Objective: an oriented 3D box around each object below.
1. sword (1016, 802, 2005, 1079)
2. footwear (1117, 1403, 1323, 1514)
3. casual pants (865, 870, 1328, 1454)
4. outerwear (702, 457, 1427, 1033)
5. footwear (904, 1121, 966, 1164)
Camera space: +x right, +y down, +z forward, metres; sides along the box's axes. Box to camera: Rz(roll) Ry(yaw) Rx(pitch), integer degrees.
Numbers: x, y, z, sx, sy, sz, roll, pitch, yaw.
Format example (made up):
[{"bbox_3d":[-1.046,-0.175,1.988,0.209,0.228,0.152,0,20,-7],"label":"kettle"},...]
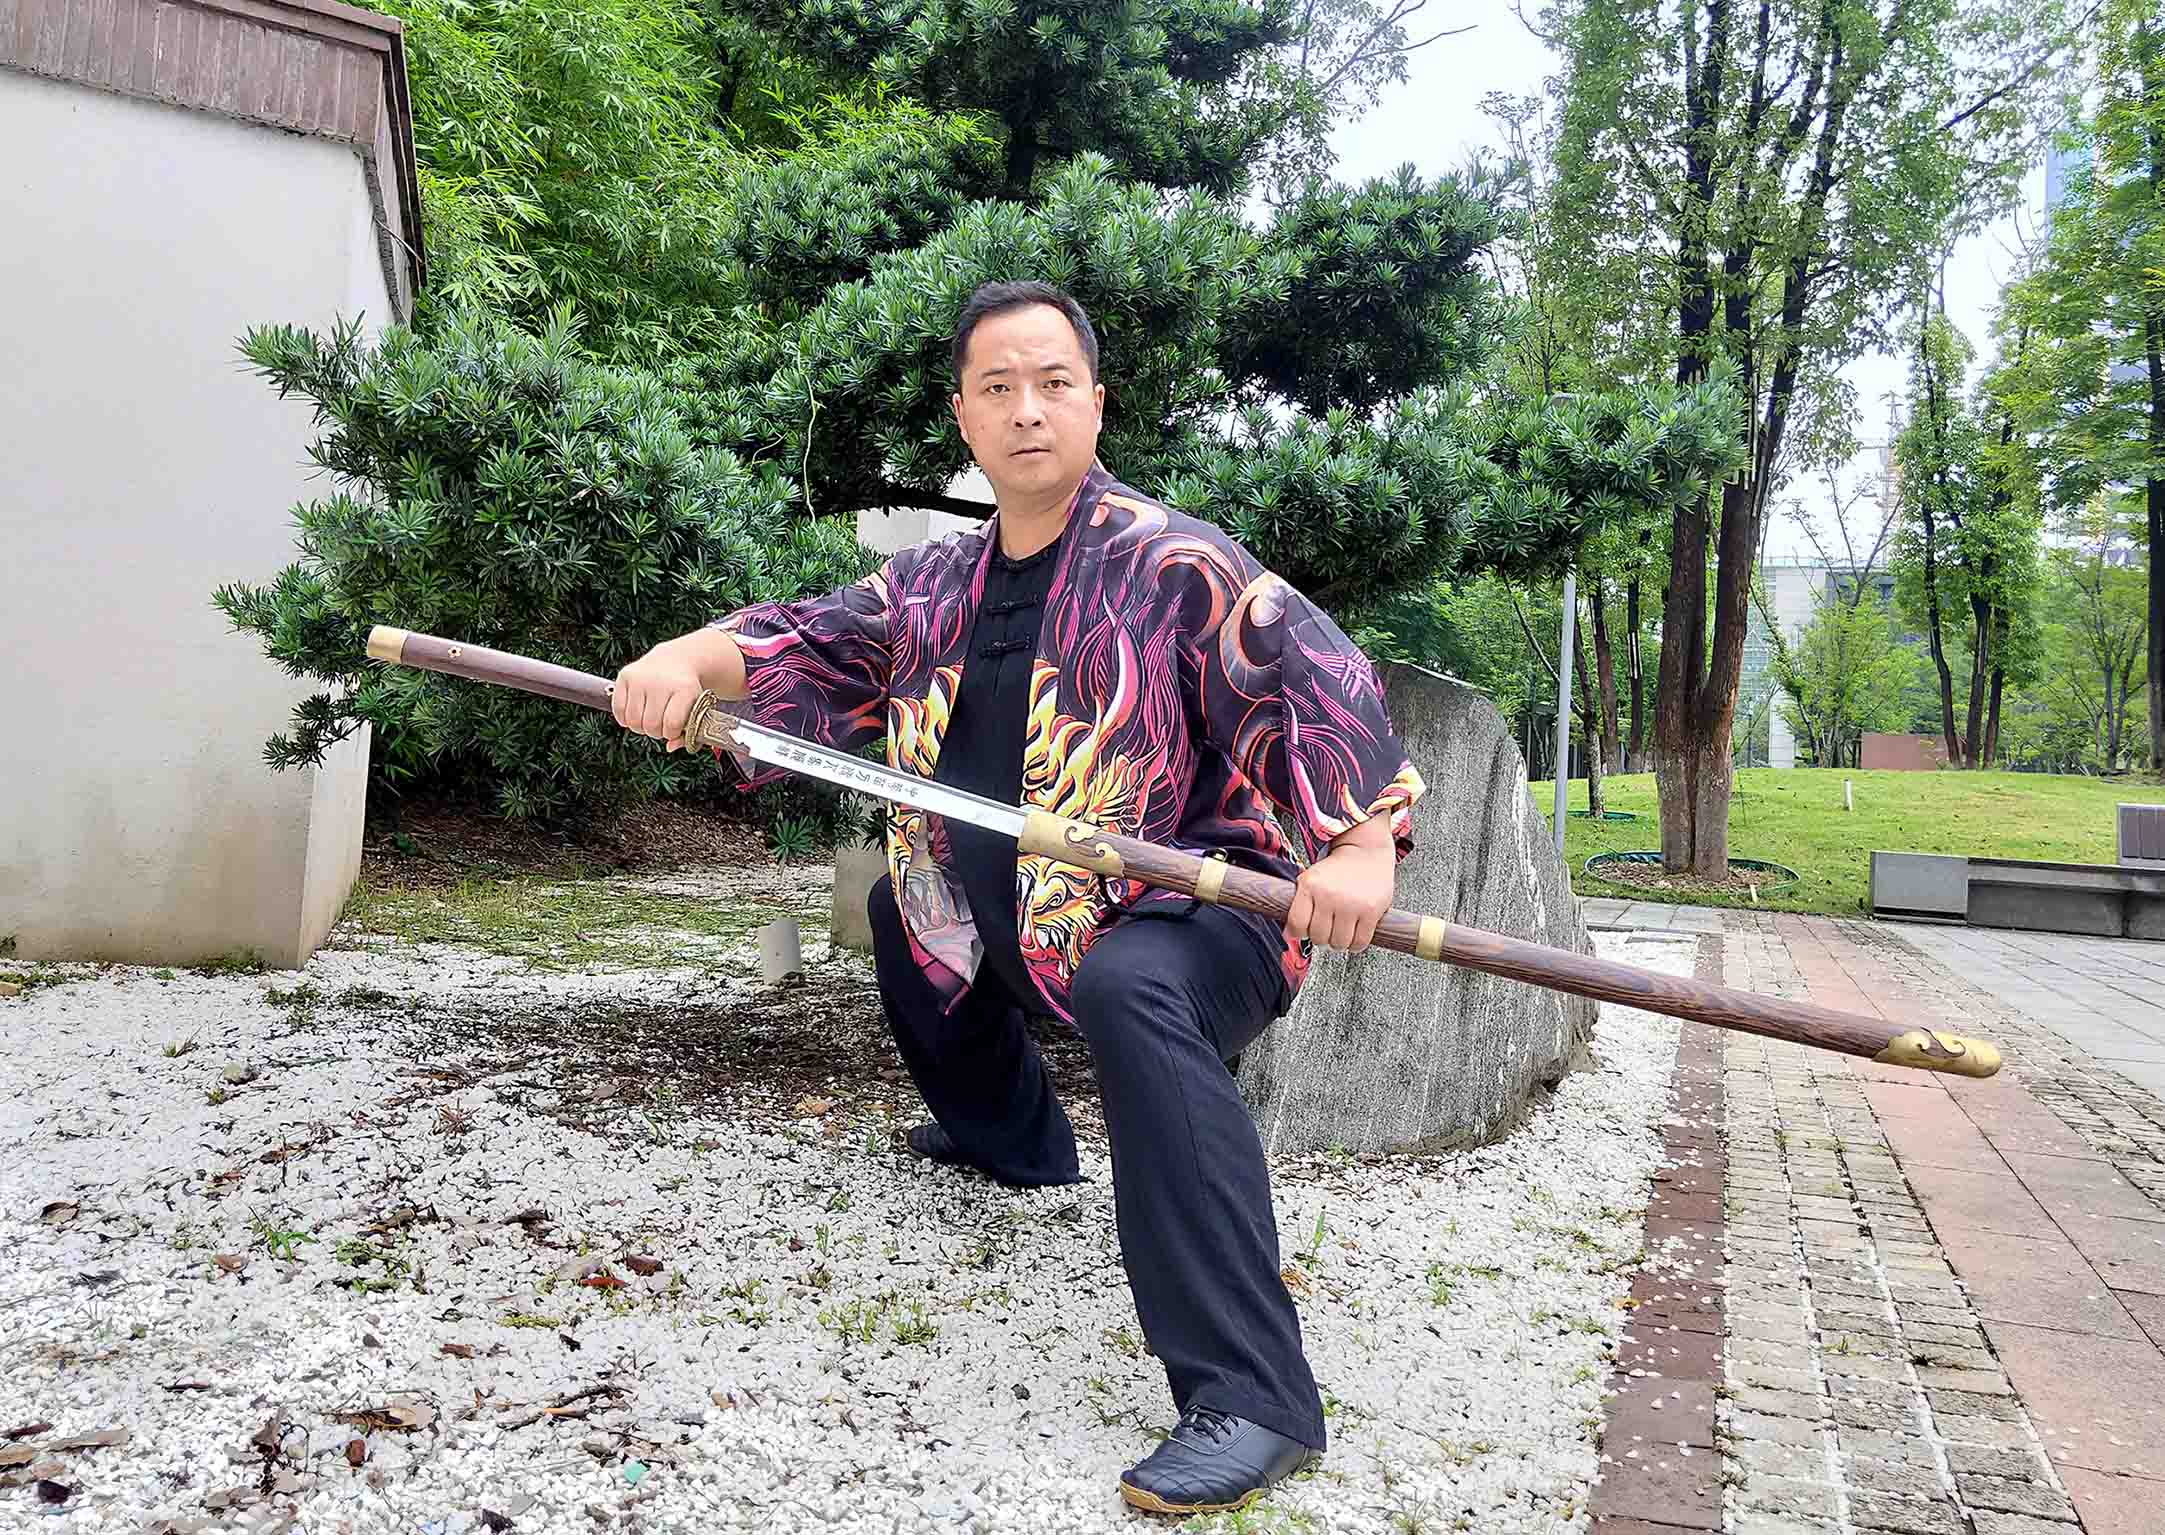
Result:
[{"bbox_3d":[1.771,0.649,5.949,3.755,0.390,0.202,14,-2,-3],"label":"sword"},{"bbox_3d":[0.335,1.568,3.710,0.570,0.246,0.232,13,-29,-42],"label":"footwear"},{"bbox_3d":[0.010,0.996,4.057,0.548,1.086,1.060,-19,12,-19],"label":"casual pants"},{"bbox_3d":[-0.087,-0.007,4.401,1.846,1.549,1.000,-2,-4,16],"label":"outerwear"},{"bbox_3d":[-0.432,1.089,4.783,0.154,0.107,0.082,10,26,26],"label":"footwear"}]
